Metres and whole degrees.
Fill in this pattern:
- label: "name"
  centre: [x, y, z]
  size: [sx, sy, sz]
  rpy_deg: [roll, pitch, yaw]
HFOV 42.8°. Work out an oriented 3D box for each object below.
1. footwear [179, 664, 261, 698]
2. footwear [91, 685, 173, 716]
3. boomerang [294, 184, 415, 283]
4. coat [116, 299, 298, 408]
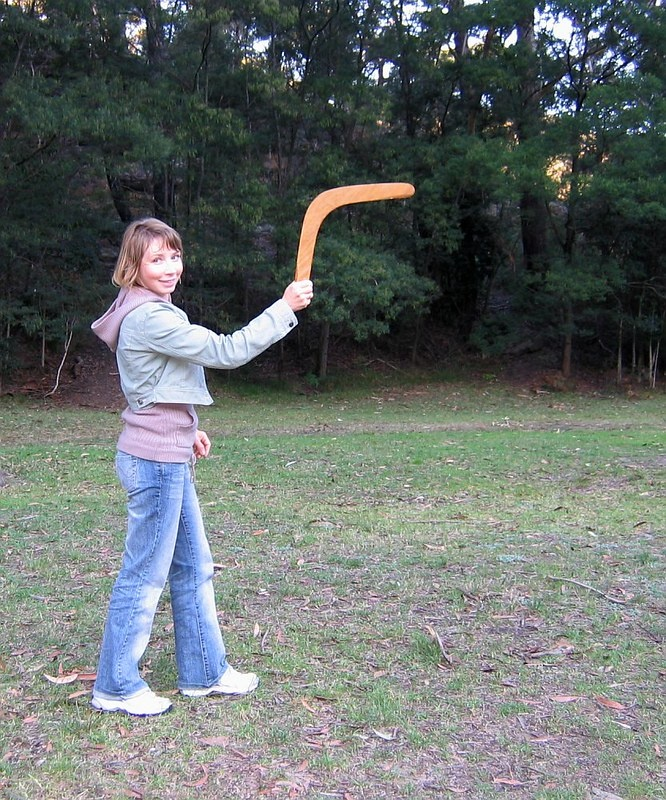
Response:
- label: "footwear"
  centre: [-0.519, 1.312, 3.938]
  size: [0.333, 0.131, 0.131]
  rpy_deg: [4, -20, -15]
- label: "footwear"
  centre: [-0.876, 1.304, 3.655]
  size: [0.297, 0.112, 0.131]
  rpy_deg: [0, 3, -4]
- label: "boomerang"
  centre: [0.110, -0.765, 3.767]
  size: [0.492, 0.465, 0.793]
  rpy_deg: [-2, 7, 6]
- label: "coat"
  centre: [-0.523, -0.198, 3.503]
  size: [0.668, 0.380, 0.474]
  rpy_deg: [-6, 4, -9]
